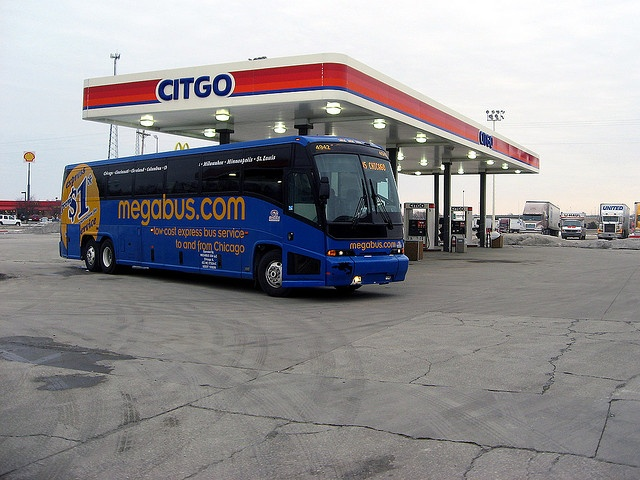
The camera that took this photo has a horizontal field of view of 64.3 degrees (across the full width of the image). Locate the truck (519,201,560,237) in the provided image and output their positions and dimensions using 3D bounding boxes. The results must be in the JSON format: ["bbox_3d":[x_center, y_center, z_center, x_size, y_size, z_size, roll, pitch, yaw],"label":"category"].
[{"bbox_3d":[31.229,-3.122,72.773,3.453,4.649,11.076,7,7,29],"label":"truck"}]

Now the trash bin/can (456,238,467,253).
[{"bbox_3d":[9.699,0.331,35.114,0.626,0.888,0.387,0,3,4],"label":"trash bin/can"}]

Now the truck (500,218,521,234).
[{"bbox_3d":[32.794,-2.438,87.421,2.015,2.146,4.742,2,7,27],"label":"truck"}]

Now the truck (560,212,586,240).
[{"bbox_3d":[38.258,-2.131,76.111,4.437,3.729,7.544,-1,-3,19],"label":"truck"}]
